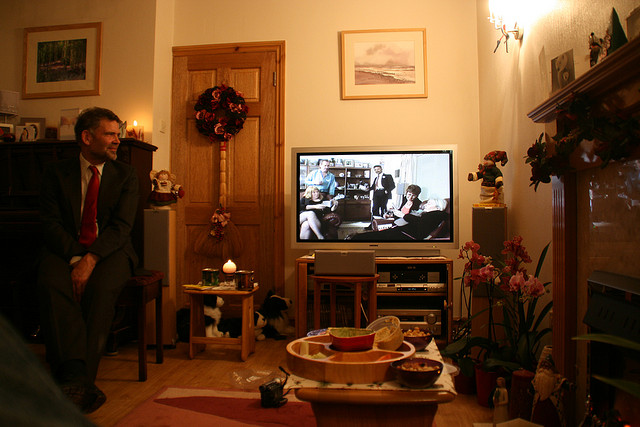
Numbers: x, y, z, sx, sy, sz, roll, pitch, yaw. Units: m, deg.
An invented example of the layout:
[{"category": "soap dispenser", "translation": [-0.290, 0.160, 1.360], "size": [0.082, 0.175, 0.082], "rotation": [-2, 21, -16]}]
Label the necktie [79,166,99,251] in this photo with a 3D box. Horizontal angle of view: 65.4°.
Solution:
[{"category": "necktie", "translation": [-1.670, -0.057, 3.602], "size": [0.126, 0.593, 0.062], "rotation": [0, 7, -43]}]

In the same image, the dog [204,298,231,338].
[{"category": "dog", "translation": [-0.940, 0.892, 4.305], "size": [0.224, 0.403, 0.217], "rotation": [1, -5, -19]}]

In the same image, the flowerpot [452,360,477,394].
[{"category": "flowerpot", "translation": [0.997, 1.133, 3.410], "size": [0.147, 0.213, 0.132], "rotation": [-5, 9, -34]}]

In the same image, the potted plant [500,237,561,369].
[{"category": "potted plant", "translation": [1.385, 0.608, 3.366], "size": [0.363, 0.950, 0.797], "rotation": [3, 8, 22]}]

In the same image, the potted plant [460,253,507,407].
[{"category": "potted plant", "translation": [1.117, 0.742, 3.421], "size": [0.272, 0.965, 0.624], "rotation": [2, 8, 19]}]

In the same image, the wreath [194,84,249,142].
[{"category": "wreath", "translation": [-0.962, -0.991, 4.883], "size": [0.491, 0.530, 0.163], "rotation": [-2, 8, -14]}]

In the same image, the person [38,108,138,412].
[{"category": "person", "translation": [-1.575, 0.238, 3.382], "size": [0.642, 1.921, 0.967], "rotation": [-3, 8, -20]}]

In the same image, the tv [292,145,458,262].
[{"category": "tv", "translation": [0.534, -0.088, 4.384], "size": [1.020, 0.715, 0.085], "rotation": [1, -2, 4]}]
